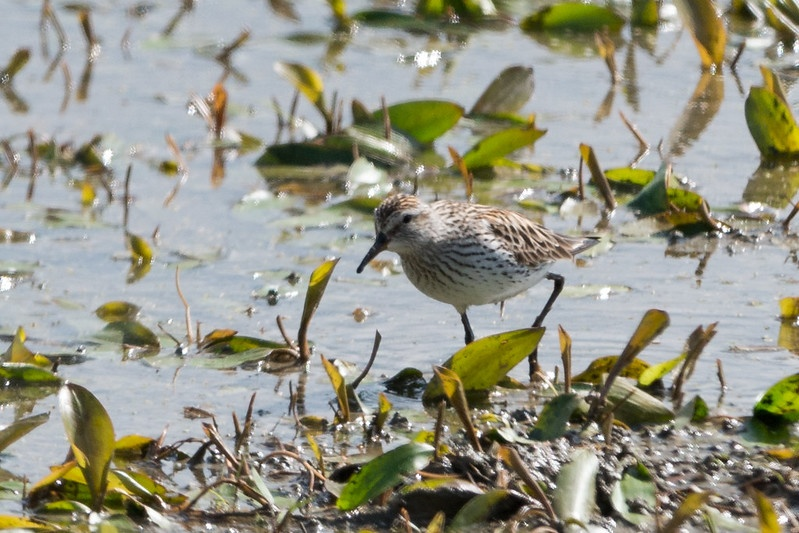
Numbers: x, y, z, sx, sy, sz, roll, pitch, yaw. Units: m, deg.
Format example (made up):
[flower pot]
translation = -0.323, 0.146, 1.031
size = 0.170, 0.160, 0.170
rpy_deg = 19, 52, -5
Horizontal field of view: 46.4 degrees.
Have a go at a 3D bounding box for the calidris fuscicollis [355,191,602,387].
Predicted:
[calidris fuscicollis]
translation = 0.458, -0.031, 6.307
size = 1.407, 0.566, 0.876
rpy_deg = 12, 61, 3
